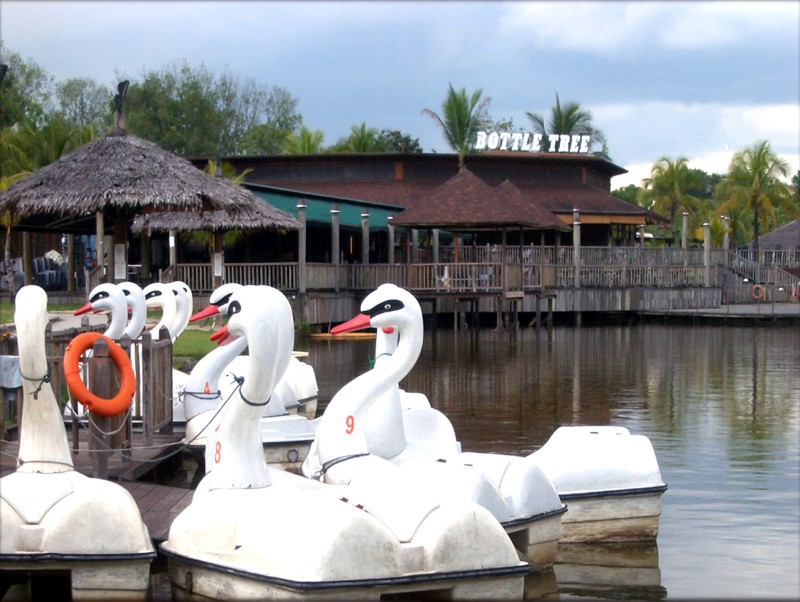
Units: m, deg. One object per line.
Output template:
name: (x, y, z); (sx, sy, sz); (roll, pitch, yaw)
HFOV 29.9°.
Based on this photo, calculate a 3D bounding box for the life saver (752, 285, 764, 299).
life saver: (11.213, -0.314, 47.095); (0.084, 0.498, 0.451); (2, 2, -6)

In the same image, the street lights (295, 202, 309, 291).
street lights: (-2.383, -1.521, 36.132); (0.259, 1.783, 0.261); (-3, -5, 26)

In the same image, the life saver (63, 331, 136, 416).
life saver: (-3.812, 0.969, 18.987); (0.224, 1.078, 0.866); (-24, -25, 31)

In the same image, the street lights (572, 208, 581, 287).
street lights: (4.975, -1.455, 42.224); (0.328, 2.347, 0.342); (3, 16, 19)
